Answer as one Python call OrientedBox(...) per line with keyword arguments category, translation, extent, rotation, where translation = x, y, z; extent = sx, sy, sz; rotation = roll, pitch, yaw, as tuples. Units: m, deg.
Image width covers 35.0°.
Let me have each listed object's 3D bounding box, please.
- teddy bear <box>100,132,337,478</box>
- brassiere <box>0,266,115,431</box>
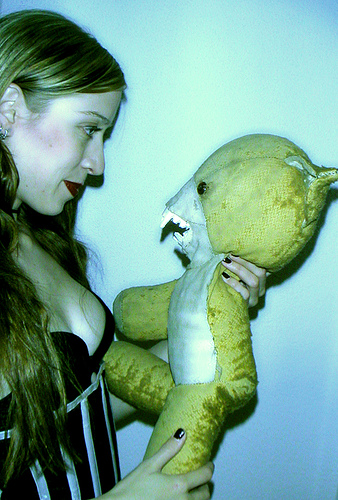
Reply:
OrientedBox(category="teddy bear", translation=(0.062, 0.083, 0.998), extent=(0.206, 0.572, 0.438), rotation=(15, -3, -30))
OrientedBox(category="brassiere", translation=(-0.194, 0.198, 1.001), extent=(0.068, 0.166, 0.124), rotation=(53, 3, -17))
